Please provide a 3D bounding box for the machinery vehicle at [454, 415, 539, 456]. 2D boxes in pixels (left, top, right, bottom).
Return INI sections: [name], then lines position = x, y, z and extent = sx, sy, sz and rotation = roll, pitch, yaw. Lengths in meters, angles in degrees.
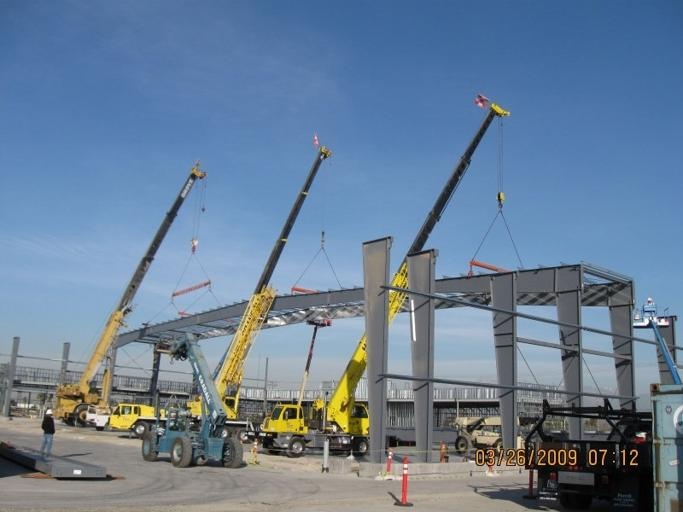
[machinery vehicle]
position = 9.125, 10.762, 42.561
extent = 4.412, 2.164, 2.157
rotation = -5, -2, 21
